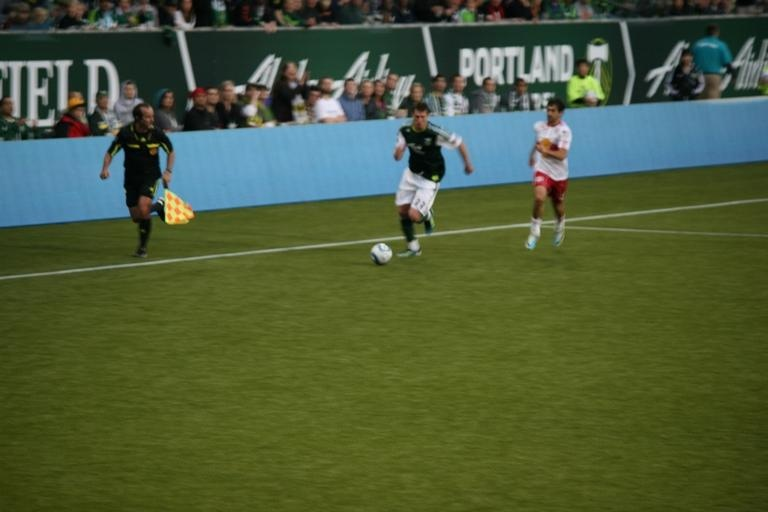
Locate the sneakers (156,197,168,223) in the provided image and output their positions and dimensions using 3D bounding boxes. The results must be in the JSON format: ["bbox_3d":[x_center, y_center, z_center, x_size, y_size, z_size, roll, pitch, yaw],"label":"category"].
[{"bbox_3d":[-3.465,-0.761,20.490,0.141,0.171,0.414,-7,27,-7],"label":"sneakers"}]

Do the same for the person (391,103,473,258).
[{"bbox_3d":[0.648,-1.117,19.427,0.967,2.285,0.771,1,12,1],"label":"person"}]

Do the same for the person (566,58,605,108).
[{"bbox_3d":[4.404,-3.762,28.780,0.791,1.035,1.513,2,12,8],"label":"person"}]

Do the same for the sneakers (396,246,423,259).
[{"bbox_3d":[0.381,-0.040,19.556,0.354,0.146,0.136,-1,8,-10],"label":"sneakers"}]

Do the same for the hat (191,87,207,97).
[{"bbox_3d":[-3.390,-2.991,24.100,0.189,0.193,0.252,-5,8,-37],"label":"hat"}]

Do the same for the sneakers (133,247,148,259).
[{"bbox_3d":[-3.666,-0.037,19.870,0.178,0.135,0.340,1,1,-10],"label":"sneakers"}]

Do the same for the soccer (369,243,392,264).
[{"bbox_3d":[-0.032,-0.035,19.063,0.300,0.287,0.289,-1,16,-1],"label":"soccer"}]

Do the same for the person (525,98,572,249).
[{"bbox_3d":[2.486,-1.235,20.003,0.613,2.230,0.844,2,12,6],"label":"person"}]

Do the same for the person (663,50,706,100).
[{"bbox_3d":[6.800,-4.079,29.868,0.821,1.098,0.521,8,14,30],"label":"person"}]

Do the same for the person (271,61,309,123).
[{"bbox_3d":[-1.860,-2.953,25.081,0.671,1.524,0.564,-3,36,-12],"label":"person"}]

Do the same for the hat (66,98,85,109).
[{"bbox_3d":[-5.420,-2.690,23.111,0.180,0.119,0.249,-17,0,-41],"label":"hat"}]

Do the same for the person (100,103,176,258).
[{"bbox_3d":[-3.702,-1.141,19.890,1.035,2.257,0.662,-2,12,-11],"label":"person"}]

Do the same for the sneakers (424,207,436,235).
[{"bbox_3d":[0.676,-0.506,19.990,0.139,0.179,0.413,-2,25,14],"label":"sneakers"}]
